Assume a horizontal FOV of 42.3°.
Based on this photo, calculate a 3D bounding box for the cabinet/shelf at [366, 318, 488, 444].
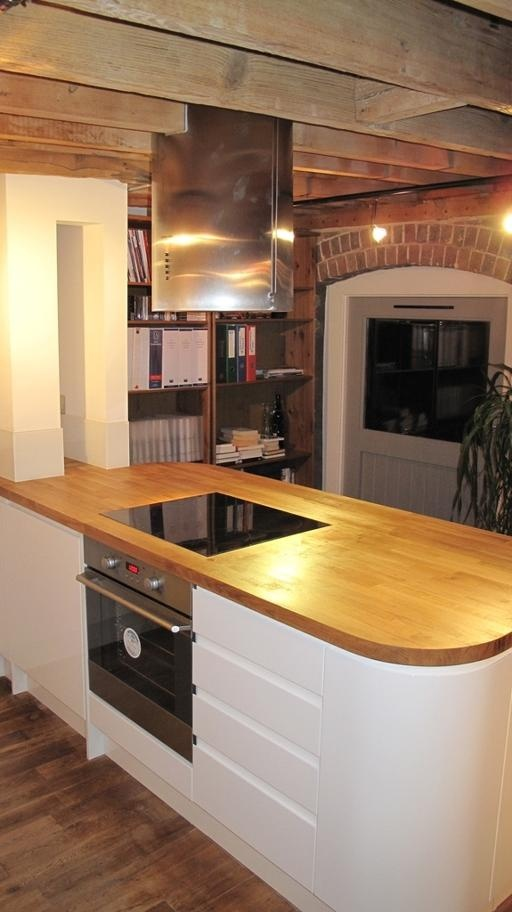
[{"bbox_3d":[1.169,-0.589,4.508,0.737,0.771,0.270,-2,26,8],"label":"cabinet/shelf"}]

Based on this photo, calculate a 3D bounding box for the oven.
[{"bbox_3d":[-0.299,0.559,2.179,0.455,0.579,0.386,15,17,34],"label":"oven"}]

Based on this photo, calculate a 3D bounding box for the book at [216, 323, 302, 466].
[{"bbox_3d":[0.005,-0.464,5.009,0.302,1.200,0.947,3,6,31],"label":"book"}]
